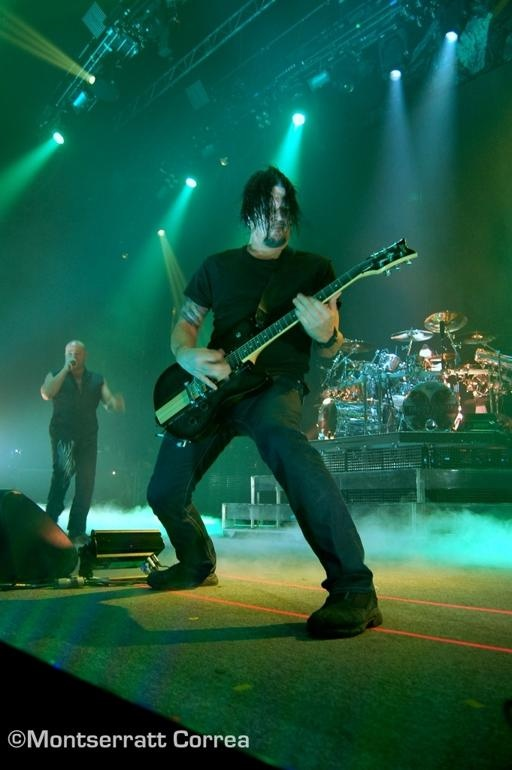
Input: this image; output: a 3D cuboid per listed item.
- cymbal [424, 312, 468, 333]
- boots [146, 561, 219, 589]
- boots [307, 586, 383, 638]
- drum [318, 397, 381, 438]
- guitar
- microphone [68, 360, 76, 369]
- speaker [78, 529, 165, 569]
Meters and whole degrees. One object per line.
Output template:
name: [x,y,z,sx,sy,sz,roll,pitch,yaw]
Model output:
cymbal: [2.515,-0.831,8.257,0.479,0.295,0.708,-2,-2,-4]
boots: [-0.341,0.872,2.882,0.361,0.135,0.121,1,-45,1]
boots: [0.301,0.720,2.005,0.146,0.153,0.371,-15,-16,34]
drum: [1.201,0.474,8.070,0.886,0.588,0.560,3,-36,14]
guitar: [0.159,-0.269,2.354,0.136,0.329,1.002,-45,7,-39]
microphone: [-1.656,-0.192,5.579,0.076,0.052,0.018,18,-19,5]
speaker: [-0.689,0.855,3.256,0.287,0.096,0.275,3,-20,-24]
